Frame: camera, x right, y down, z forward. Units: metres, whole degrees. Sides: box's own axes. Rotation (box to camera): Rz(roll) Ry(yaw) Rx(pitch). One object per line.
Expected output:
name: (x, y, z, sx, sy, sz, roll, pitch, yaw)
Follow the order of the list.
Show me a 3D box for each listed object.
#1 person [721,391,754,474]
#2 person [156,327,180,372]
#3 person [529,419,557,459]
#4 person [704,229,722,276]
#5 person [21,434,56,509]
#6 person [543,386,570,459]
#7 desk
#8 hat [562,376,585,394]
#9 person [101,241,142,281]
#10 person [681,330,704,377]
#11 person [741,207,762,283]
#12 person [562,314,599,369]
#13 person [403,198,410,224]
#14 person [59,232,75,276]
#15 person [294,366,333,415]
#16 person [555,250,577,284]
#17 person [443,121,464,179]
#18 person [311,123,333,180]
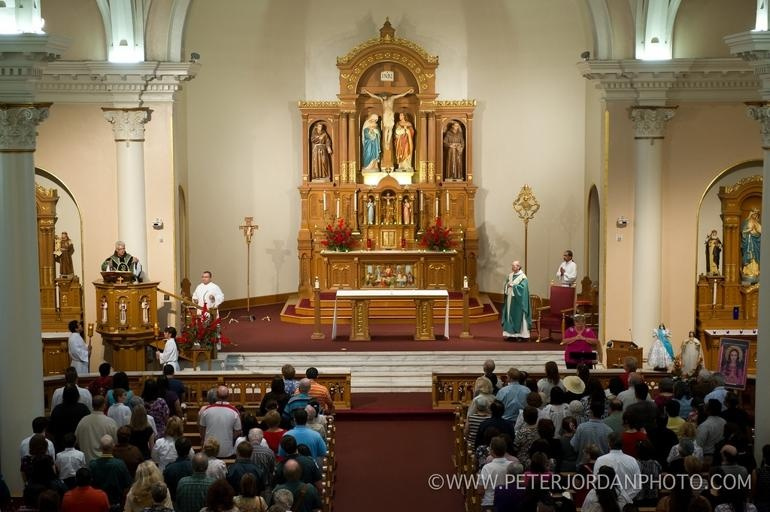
person: (5.044, 2.577, 12.385, 0.443, 1.325, 0.415, -4, 16, 19)
person: (-4.455, 1.922, 17.733, 0.449, 0.959, 1.696, 0, -1, -14)
person: (2.144, 2.510, 11.693, 0.346, 0.585, 0.721, 0, -1, 15)
person: (7.312, -0.061, 19.140, 0.354, 0.984, 0.156, 0, -1, 12)
person: (-4.571, 2.818, 11.342, 0.401, 0.876, 1.070, 0, -1, -23)
person: (2.583, 2.457, 13.004, 0.415, 1.333, 0.389, -15, 39, -7)
desk: (0.162, 1.416, 21.087, 2.785, 1.163, 2.051, 0, -1, -2)
hat: (2.960, 2.023, 13.535, 0.280, 0.068, 0.280, 30, 40, 31)
person: (-5.546, 0.126, 18.048, 0.698, 0.819, 1.226, 0, -1, -11)
person: (6.112, 1.925, 17.186, 0.416, 0.821, 1.001, -1, -1, 20)
person: (8.095, -0.202, 19.082, 0.400, 1.694, 0.185, -1, -1, 22)
person: (3.598, 1.594, 15.948, 0.591, 1.006, 1.212, 0, -1, 12)
person: (0.604, -1.271, 24.850, 0.195, 0.730, 0.253, 0, -1, -22)
person: (-7.164, -0.043, 19.380, 0.199, 0.959, 0.285, -1, -1, 39)
person: (-1.191, 2.253, 14.294, 0.500, 1.019, 0.587, -16, 31, -4)
person: (4.473, 0.300, 21.180, 0.419, 0.832, 0.566, 0, -1, 15)
person: (2.005, -3.066, 25.099, 0.616, 1.716, 0.262, 0, -1, 4)
person: (-1.872, -3.030, 25.136, 0.635, 1.641, 0.172, 0, -1, -6)
